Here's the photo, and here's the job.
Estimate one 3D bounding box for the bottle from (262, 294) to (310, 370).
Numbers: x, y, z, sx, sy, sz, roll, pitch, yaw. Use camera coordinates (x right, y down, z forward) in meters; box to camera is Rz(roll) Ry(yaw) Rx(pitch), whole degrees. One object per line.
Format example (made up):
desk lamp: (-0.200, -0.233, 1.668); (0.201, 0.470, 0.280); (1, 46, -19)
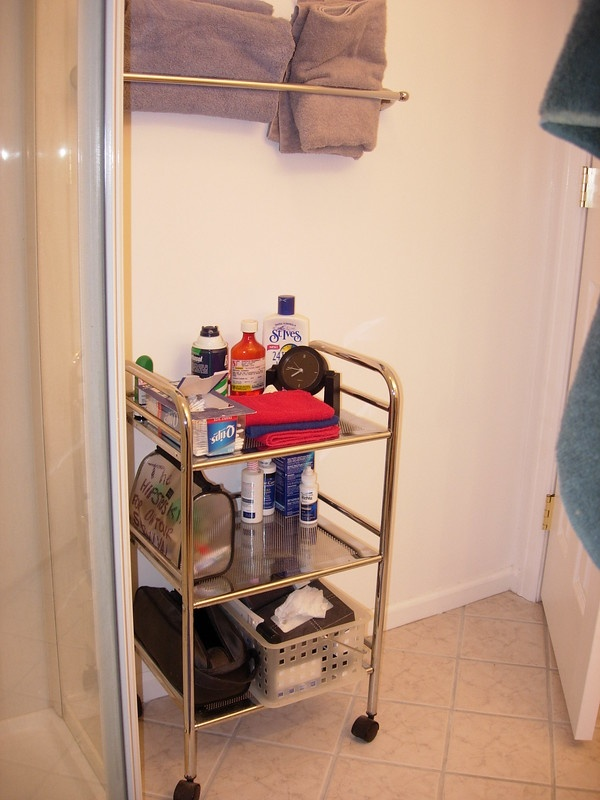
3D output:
bottle: (-0.029, -0.139, 1.465); (0.096, 0.176, 0.046); (0, 25, -2)

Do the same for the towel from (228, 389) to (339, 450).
towel: (-0.024, 0.033, 1.272); (0.127, 0.040, 0.126); (-7, 21, -22)

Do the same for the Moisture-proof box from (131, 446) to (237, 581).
Moisture-proof box: (-0.213, 0.210, 1.278); (0.119, 0.195, 0.261); (3, 17, -38)

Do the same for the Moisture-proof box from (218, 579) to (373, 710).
Moisture-proof box: (0.005, 0.515, 1.424); (0.206, 0.118, 0.307); (-9, 20, -24)
